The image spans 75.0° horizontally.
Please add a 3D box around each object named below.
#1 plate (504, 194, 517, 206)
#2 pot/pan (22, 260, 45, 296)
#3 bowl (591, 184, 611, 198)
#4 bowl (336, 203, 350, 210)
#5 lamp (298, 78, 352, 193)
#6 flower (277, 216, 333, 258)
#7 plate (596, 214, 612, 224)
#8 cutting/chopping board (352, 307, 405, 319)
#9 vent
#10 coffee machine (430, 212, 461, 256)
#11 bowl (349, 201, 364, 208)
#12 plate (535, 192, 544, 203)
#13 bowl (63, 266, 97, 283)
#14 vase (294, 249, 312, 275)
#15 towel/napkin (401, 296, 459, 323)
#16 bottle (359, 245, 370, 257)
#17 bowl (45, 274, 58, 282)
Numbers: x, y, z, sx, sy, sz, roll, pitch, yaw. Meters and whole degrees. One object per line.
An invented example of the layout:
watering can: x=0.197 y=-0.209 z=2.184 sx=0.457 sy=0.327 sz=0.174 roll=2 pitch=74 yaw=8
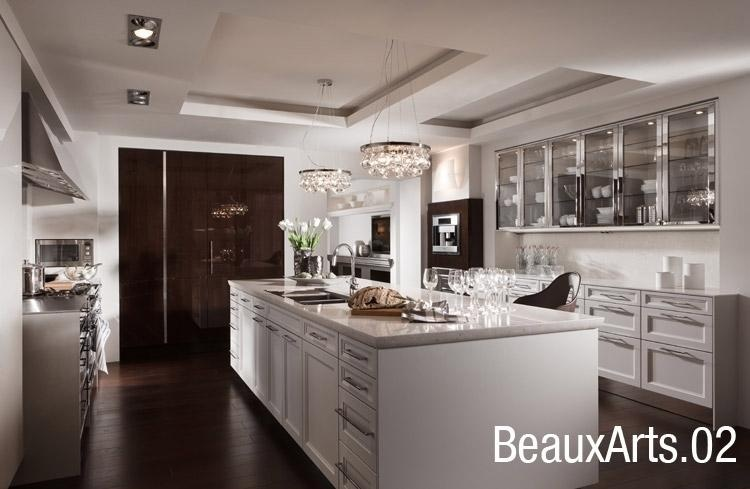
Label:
plate: x=1.904 y=-0.629 z=6.864 sx=0.098 sy=0.102 sz=0.152 roll=1 pitch=1 yaw=-37
pot/pan: x=-3.160 y=0.311 z=4.460 sx=0.265 sy=0.322 sz=0.238 roll=0 pitch=-2 yaw=-25
bowl: x=2.647 y=-0.625 z=5.699 sx=0.158 sy=0.105 sz=0.204 roll=-1 pitch=6 yaw=11
bowl: x=-0.672 y=-0.831 z=10.639 sx=0.175 sy=0.078 sz=0.176 roll=-2 pitch=-3 yaw=0
lamp: x=-0.650 y=-1.344 z=5.966 sx=0.648 sy=1.297 sz=0.659 roll=-3 pitch=8 yaw=-45
flower: x=-0.753 y=-0.126 z=5.776 sx=0.398 sy=0.297 sz=0.445 roll=20 pitch=-3 yaw=-13
plate: x=2.665 y=-0.295 z=5.664 sx=0.091 sy=0.111 sz=0.165 roll=-2 pitch=2 yaw=-22
cutting/chopping board: x=0.016 y=0.513 z=3.684 sx=0.381 sy=0.052 sz=0.074 roll=0 pitch=5 yaw=1
vent: x=-3.189 y=-0.991 z=4.876 sx=0.346 sy=0.415 sz=1.168 roll=-4 pitch=1 yaw=-27
coffee machine: x=1.179 y=-0.151 z=7.705 sx=0.208 sy=0.617 sz=0.635 roll=1 pitch=0 yaw=-35
bowl: x=-0.385 y=-0.866 z=10.234 sx=0.233 sy=0.104 sz=0.231 roll=-2 pitch=-2 yaw=0
plate: x=2.170 y=-0.626 z=6.429 sx=0.115 sy=0.084 sz=0.115 roll=-1 pitch=-2 yaw=6
bowl: x=-3.439 y=0.356 z=5.758 sx=0.284 sy=0.152 sz=0.282 roll=-1 pitch=-8 yaw=0
vase: x=-0.824 y=0.184 z=5.617 sx=0.193 sy=0.264 sz=0.149 roll=0 pitch=5 yaw=-1
towel/napkin: x=0.402 y=0.488 z=3.576 sx=0.373 sy=0.111 sz=0.369 roll=-1 pitch=5 yaw=-12
bottle: x=-0.213 y=0.118 z=9.727 sx=0.223 sy=0.210 sz=0.233 roll=1 pitch=-2 yaw=-12
bowl: x=-3.977 y=0.404 z=6.022 sx=0.111 sy=0.106 sz=0.104 roll=-1 pitch=-2 yaw=0
